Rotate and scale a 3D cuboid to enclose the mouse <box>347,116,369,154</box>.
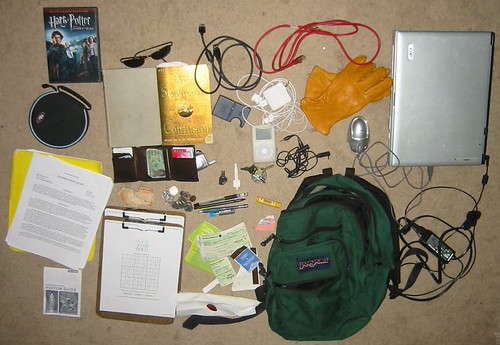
[{"bbox_3d":[0.501,-0.172,2.216,0.107,0.159,0.052,3,8,9],"label":"mouse"}]

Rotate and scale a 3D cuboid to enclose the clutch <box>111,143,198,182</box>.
[{"bbox_3d":[-0.449,-0.044,2.300,0.403,0.176,0.041,1,2,2],"label":"clutch"}]

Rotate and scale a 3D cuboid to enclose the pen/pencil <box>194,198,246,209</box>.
[{"bbox_3d":[-0.136,0.146,2.320,0.240,0.022,0.026,-5,13,0],"label":"pen/pencil"}]

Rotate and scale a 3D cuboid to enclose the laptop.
[{"bbox_3d":[0.883,-0.338,2.241,0.448,0.611,0.038,1,2,-1],"label":"laptop"}]

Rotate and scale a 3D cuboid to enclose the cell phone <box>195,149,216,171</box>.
[{"bbox_3d":[-0.214,-0.063,2.306,0.104,0.073,0.036,-15,6,-4],"label":"cell phone"}]

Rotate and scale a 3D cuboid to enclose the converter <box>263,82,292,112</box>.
[{"bbox_3d":[0.128,-0.359,2.281,0.129,0.128,0.030,-32,6,-1],"label":"converter"}]

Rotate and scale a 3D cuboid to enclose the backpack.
[{"bbox_3d":[0.384,0.384,2.268,0.631,0.809,0.197,1,3,-15],"label":"backpack"}]

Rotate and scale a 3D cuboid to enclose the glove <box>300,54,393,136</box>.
[{"bbox_3d":[0.453,-0.362,2.286,0.411,0.366,0.102,2,3,13],"label":"glove"}]
